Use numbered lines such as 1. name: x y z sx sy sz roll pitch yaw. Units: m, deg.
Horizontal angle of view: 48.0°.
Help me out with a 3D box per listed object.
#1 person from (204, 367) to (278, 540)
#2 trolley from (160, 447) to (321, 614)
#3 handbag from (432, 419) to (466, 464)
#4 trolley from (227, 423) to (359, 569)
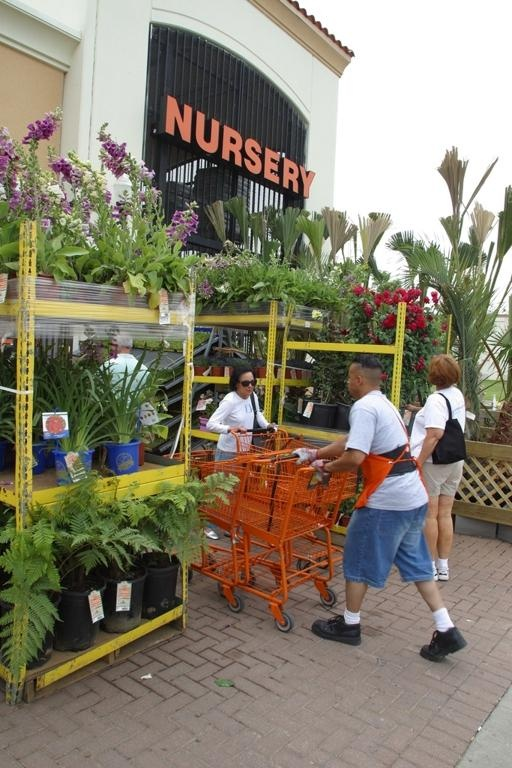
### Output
1. person: -0.138 0.557 4.538 0.538 1.347 0.430 -11 24 -40
2. trolley: -0.036 0.889 3.826 1.183 1.014 0.659 8 2 40
3. handbag: 1.364 0.409 4.085 0.310 0.319 0.124 -9 11 -39
4. trolley: 0.142 0.798 3.708 0.921 0.894 0.586 4 5 41
